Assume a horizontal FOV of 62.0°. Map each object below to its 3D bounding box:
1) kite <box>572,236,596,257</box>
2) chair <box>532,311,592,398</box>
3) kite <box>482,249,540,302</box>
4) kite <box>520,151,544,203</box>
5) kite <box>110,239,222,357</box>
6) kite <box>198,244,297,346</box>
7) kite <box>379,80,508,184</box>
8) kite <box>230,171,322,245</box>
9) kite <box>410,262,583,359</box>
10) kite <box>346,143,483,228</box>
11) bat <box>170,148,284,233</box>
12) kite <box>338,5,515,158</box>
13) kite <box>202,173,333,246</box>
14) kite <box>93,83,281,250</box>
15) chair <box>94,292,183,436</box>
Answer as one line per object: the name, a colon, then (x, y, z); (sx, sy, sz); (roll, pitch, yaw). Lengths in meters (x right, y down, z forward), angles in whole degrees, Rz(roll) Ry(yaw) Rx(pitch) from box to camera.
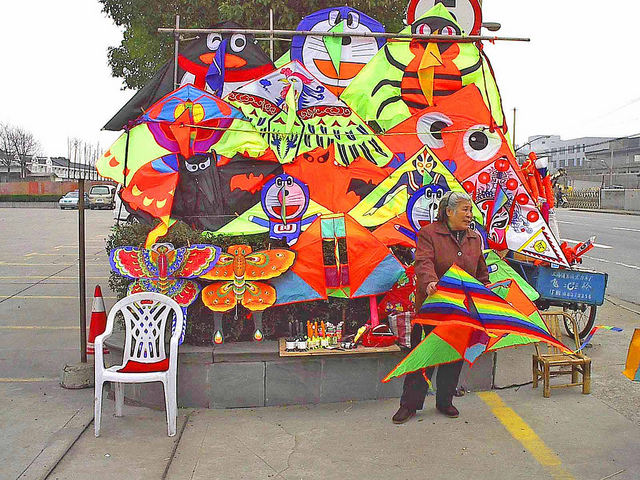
kite: (4.008, 0.091, 8.131); (0.258, 0.323, 0.665); (2, 8, 26)
chair: (2.877, 1.461, 6.379); (0.722, 1.143, 0.842); (2, 2, 24)
kite: (2.394, 0.471, 6.596); (0.756, 0.606, 0.255); (25, -14, -2)
kite: (3.211, -0.970, 8.045); (0.297, 0.753, 0.476); (-10, -29, 41)
kite: (-1.780, 0.434, 6.152); (1.254, 0.792, 0.192); (0, 7, 4)
kite: (-0.889, 0.620, 6.288); (1.059, 1.041, 0.099); (0, 4, -13)
kite: (1.668, -1.395, 7.176); (1.712, 1.277, 0.183); (-31, -10, -1)
kite: (-0.515, -0.374, 6.726); (0.818, 0.724, 0.267); (2, -4, 2)
kite: (1.616, 0.707, 5.254); (1.056, 0.426, 0.891); (17, -21, -7)
kite: (1.113, -0.657, 6.682); (1.000, 0.819, 0.035); (11, -22, 1)
bat: (-1.237, -0.629, 6.864); (0.987, 0.754, 0.143); (0, -1, -11)
kite: (1.349, -2.072, 7.348); (2.845, 2.484, 0.442); (6, -6, -3)
kite: (-0.521, -0.366, 6.686); (1.230, 0.992, 0.688); (1, 5, -21)
kite: (-1.528, -0.927, 6.822); (2.186, 2.221, 0.477); (-2, 3, -13)
chair: (-1.890, 1.266, 5.556); (0.867, 1.418, 0.893); (3, -6, -33)
